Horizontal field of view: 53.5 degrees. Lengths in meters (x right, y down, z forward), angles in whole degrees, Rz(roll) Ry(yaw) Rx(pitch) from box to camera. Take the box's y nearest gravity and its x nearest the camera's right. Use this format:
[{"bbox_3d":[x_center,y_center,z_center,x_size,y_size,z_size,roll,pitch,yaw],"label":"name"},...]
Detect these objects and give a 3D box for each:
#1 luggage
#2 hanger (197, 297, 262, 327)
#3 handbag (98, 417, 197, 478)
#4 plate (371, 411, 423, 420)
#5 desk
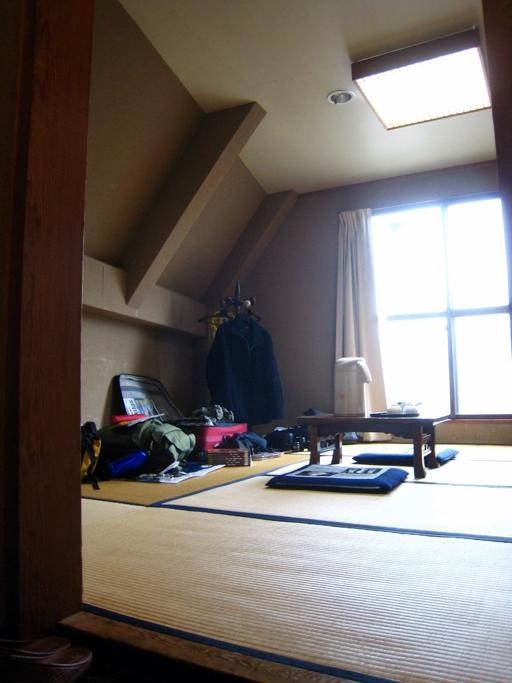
[{"bbox_3d":[-0.589,0.579,4.071,1.217,0.660,1.324,-4,-7,16],"label":"luggage"},{"bbox_3d":[-0.245,-0.271,5.075,0.489,0.239,0.865,-7,-5,24],"label":"hanger"},{"bbox_3d":[-0.615,0.577,2.813,0.334,0.153,0.293,-3,-1,-22],"label":"handbag"},{"bbox_3d":[0.740,0.400,2.690,0.233,0.032,0.332,-7,-5,23],"label":"plate"},{"bbox_3d":[0.672,0.568,2.855,0.710,0.348,0.751,-8,-6,31],"label":"desk"}]
